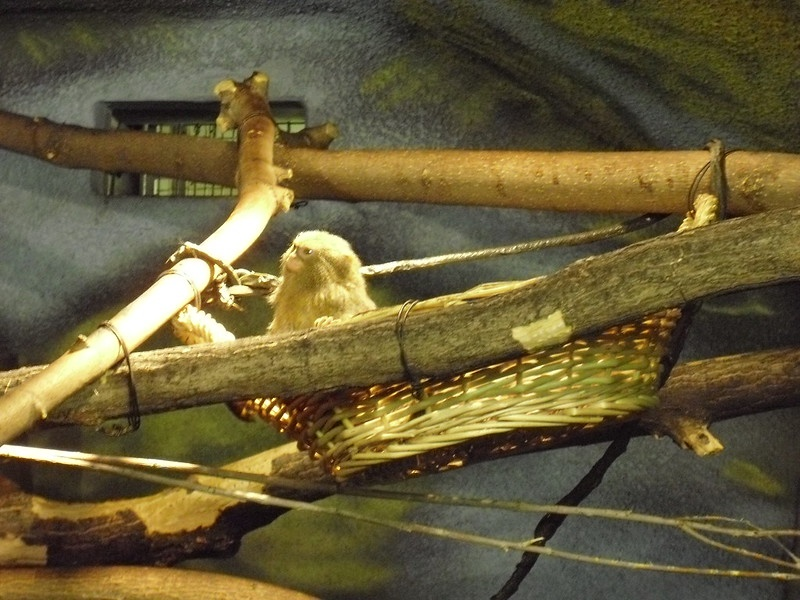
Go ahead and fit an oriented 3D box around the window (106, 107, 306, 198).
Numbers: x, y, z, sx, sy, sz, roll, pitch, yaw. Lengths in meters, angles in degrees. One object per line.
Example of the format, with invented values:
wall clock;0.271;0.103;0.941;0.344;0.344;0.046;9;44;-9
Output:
window;-0.517;-0.392;3.127;0.480;0.087;0.285;-3;22;10

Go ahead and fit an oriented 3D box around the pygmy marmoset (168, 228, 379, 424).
pygmy marmoset;-0.343;0.065;2.573;0.583;0.227;0.355;-17;-8;-18
